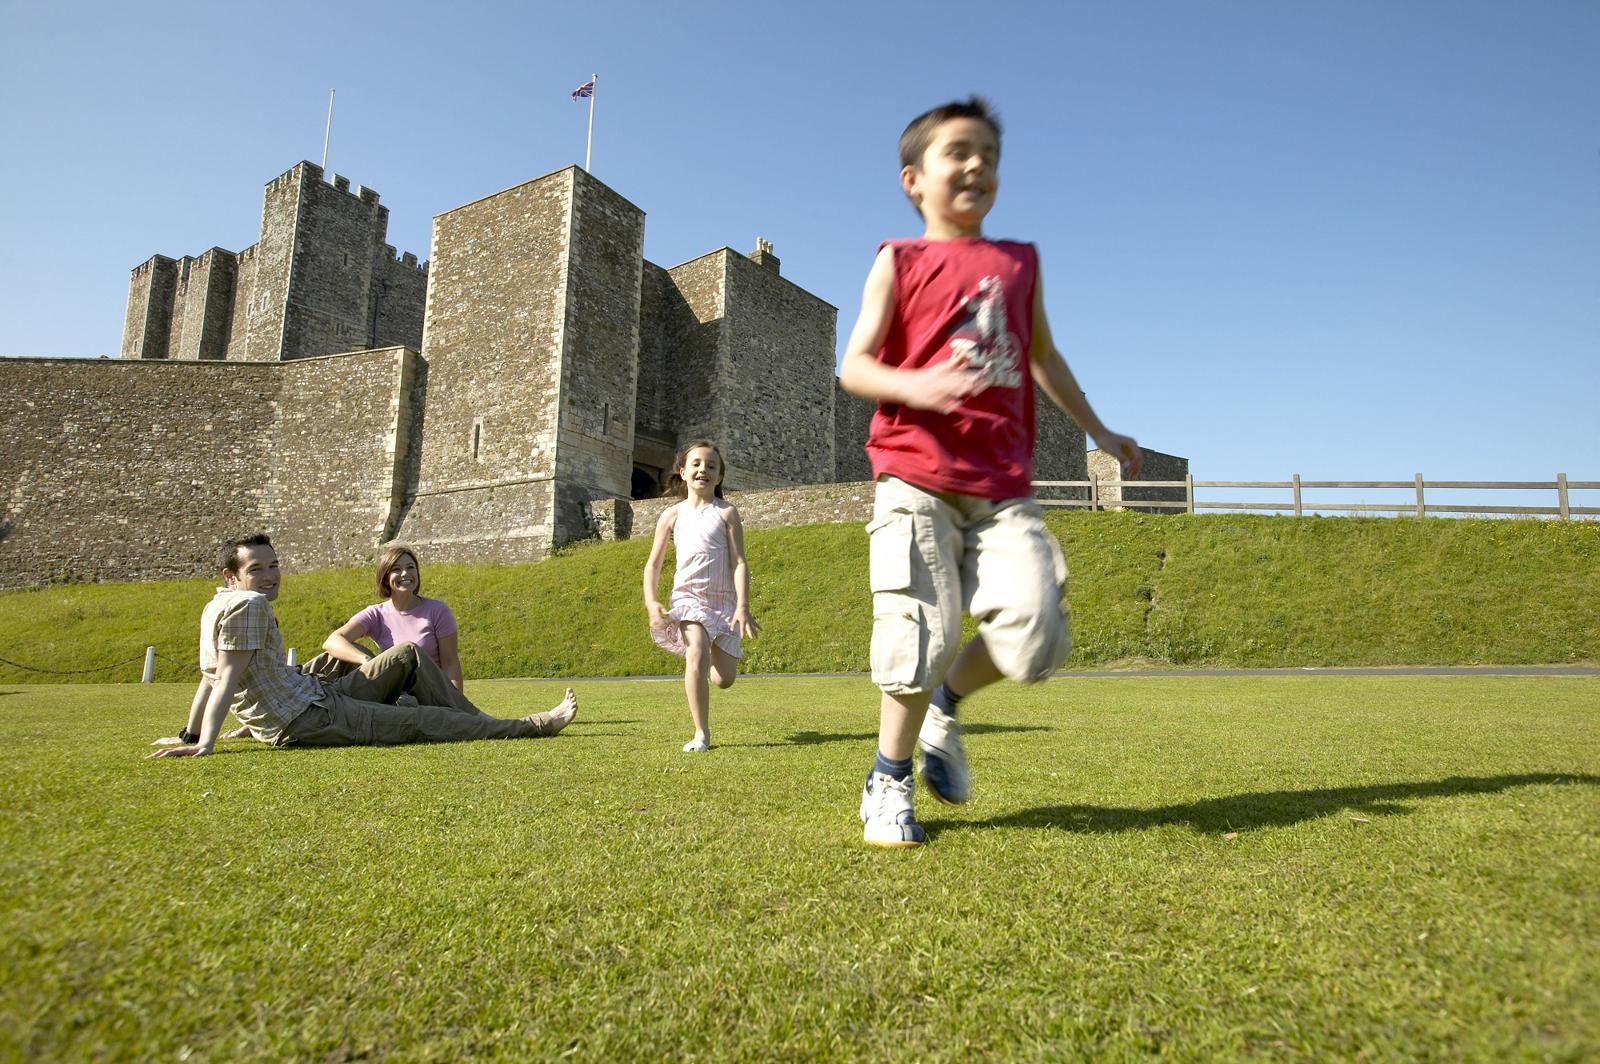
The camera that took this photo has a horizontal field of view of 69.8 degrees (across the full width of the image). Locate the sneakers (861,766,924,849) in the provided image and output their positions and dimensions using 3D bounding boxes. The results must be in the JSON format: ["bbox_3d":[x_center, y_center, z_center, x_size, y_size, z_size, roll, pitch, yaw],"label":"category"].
[{"bbox_3d":[0.288,0.862,3.596,0.188,0.182,0.286,-1,1,1],"label":"sneakers"}]

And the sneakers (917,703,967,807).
[{"bbox_3d":[0.469,0.760,3.949,0.132,0.352,0.154,-8,-3,3],"label":"sneakers"}]

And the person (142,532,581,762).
[{"bbox_3d":[-2.196,0.522,5.812,1.878,0.908,0.988,0,-1,-28],"label":"person"}]

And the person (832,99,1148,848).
[{"bbox_3d":[0.573,-0.047,3.922,0.960,1.977,0.769,-1,1,-15],"label":"person"}]
